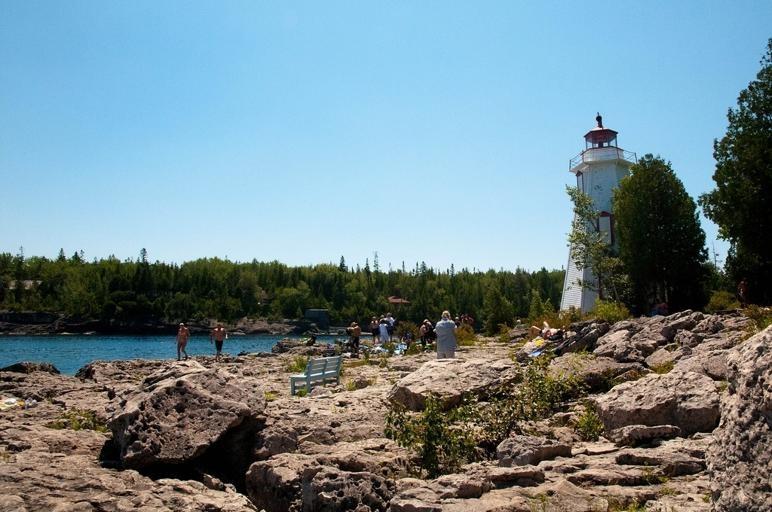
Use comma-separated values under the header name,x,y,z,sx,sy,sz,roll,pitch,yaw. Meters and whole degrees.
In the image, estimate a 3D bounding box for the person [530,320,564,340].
name,x,y,z,sx,sy,sz,roll,pitch,yaw
person,5.960,2.752,28.826,1.473,0.672,0.636,-9,-9,43

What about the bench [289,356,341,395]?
name,x,y,z,sx,sy,sz,roll,pitch,yaw
bench,-2.317,3.937,25.830,0.778,1.142,2.184,-2,-2,28
